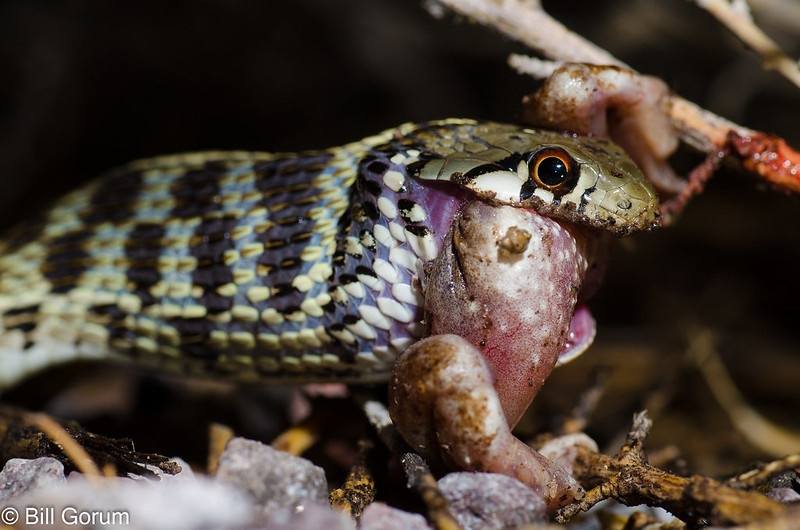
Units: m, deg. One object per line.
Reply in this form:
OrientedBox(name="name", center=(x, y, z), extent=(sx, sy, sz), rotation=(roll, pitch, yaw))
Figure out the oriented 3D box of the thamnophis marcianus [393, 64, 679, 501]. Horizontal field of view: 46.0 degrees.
OrientedBox(name="thamnophis marcianus", center=(0.271, 0.023, 1.741), extent=(0.399, 0.614, 0.645), rotation=(21, 40, 10))
